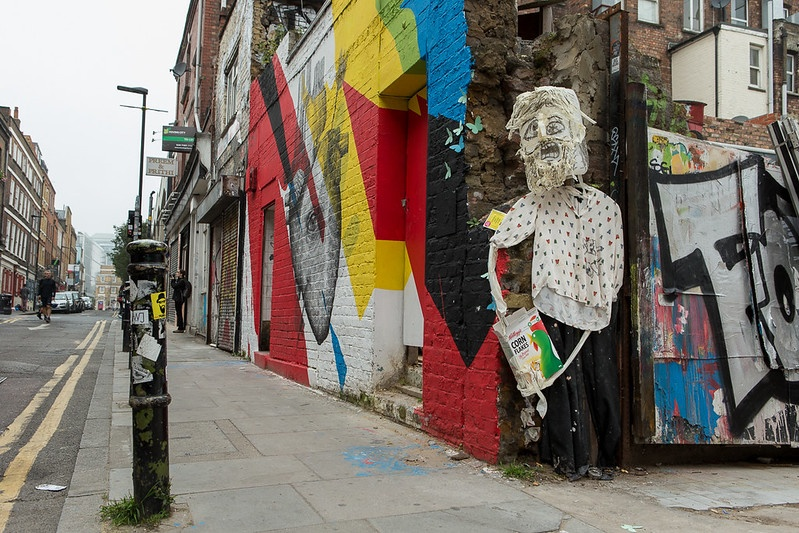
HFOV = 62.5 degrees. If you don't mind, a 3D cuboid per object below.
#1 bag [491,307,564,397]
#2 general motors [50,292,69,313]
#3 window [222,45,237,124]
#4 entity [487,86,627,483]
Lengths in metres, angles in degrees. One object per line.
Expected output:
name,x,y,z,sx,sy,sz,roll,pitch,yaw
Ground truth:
bag,1.408,0.903,7.042,0.592,0.942,0.343,-28,2,-8
general motors,-23.273,2.405,45.516,1.271,1.150,2.699,0,-8,-12
window,-4.686,-4.912,18.501,0.171,2.213,1.873,4,-8,-24
entity,1.753,0.148,7.152,1.468,4.169,0.797,2,6,9
